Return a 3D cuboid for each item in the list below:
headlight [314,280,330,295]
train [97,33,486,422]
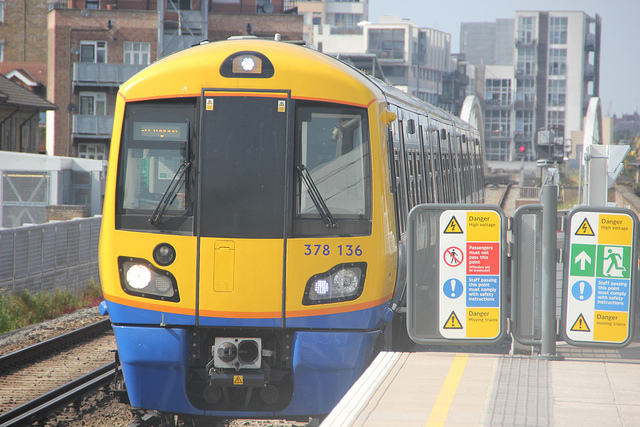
[{"bbox_3d":[0.033,0.918,9.723,0.148,0.179,0.047,3,-2,-15],"label":"headlight"},{"bbox_3d":[-0.905,0.268,10.007,3.509,4.973,1.121,0,4,-12],"label":"train"}]
